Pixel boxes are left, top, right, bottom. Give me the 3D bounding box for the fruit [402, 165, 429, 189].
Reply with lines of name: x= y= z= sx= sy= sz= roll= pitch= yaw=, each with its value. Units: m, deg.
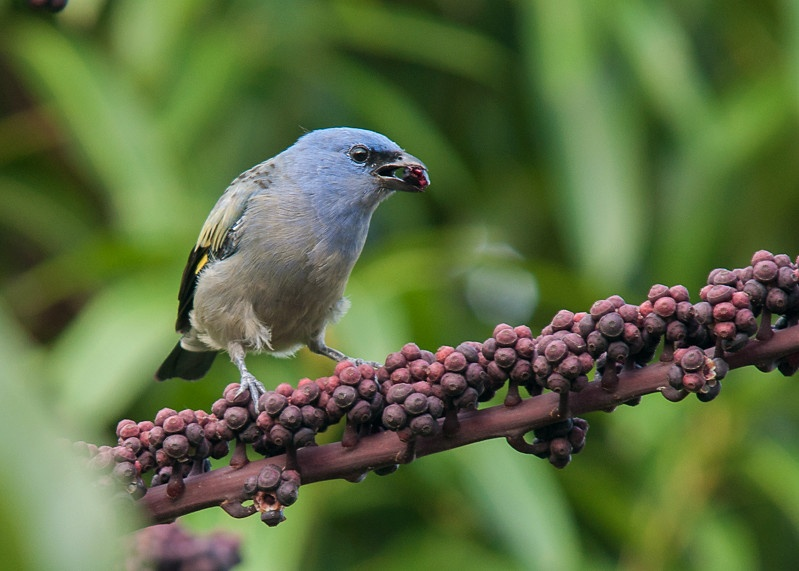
fruit: x=0.081 y=-0.568 z=5.277 sx=0.123 sy=0.105 sz=0.046 roll=17 pitch=32 yaw=31
